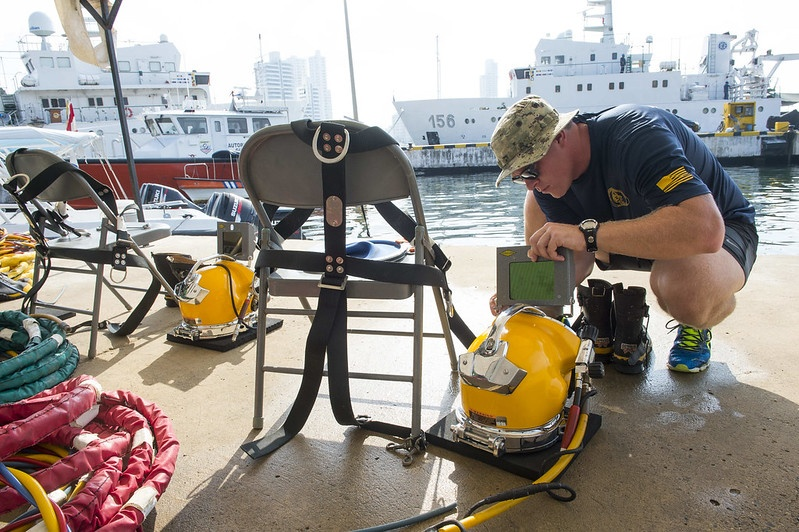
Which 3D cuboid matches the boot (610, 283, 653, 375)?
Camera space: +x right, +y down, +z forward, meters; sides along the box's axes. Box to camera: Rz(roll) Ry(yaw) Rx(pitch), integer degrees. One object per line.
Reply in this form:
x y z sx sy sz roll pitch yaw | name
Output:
1.268 0.299 3.020 0.190 0.441 0.461 3 14 28 | boot

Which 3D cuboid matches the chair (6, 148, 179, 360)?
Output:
-1.996 -0.143 3.536 0.831 1.211 1.037 -15 23 -29 | chair

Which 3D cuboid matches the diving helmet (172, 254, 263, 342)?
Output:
-1.059 0.159 3.486 0.511 0.536 0.591 6 5 38 | diving helmet

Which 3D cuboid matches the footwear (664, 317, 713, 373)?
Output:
1.517 0.431 2.897 0.142 0.151 0.342 0 2 28 | footwear

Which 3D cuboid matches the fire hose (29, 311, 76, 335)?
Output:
-2.009 0.367 3.239 0.192 0.059 0.187 22 -4 11 | fire hose

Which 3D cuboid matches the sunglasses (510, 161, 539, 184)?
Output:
0.613 -0.443 2.674 0.083 0.025 0.080 -49 16 -22 | sunglasses

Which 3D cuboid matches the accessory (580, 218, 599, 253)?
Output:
0.855 -0.126 2.521 0.087 0.184 0.207 4 21 19 | accessory

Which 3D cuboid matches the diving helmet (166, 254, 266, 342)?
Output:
-1.074 0.165 3.511 0.507 0.538 0.594 7 7 37 | diving helmet

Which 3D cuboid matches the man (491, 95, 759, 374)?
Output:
1.199 -0.152 2.986 1.472 1.248 1.195 0 8 3 | man

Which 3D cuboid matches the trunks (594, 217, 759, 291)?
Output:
1.573 -0.085 3.028 0.536 0.204 0.435 -2 8 18 | trunks

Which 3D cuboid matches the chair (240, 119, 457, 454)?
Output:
-0.252 0.068 2.484 0.967 1.395 0.683 -2 20 4 | chair

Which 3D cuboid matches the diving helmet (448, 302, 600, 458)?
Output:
0.530 0.413 2.456 0.540 0.531 0.630 11 24 41 | diving helmet

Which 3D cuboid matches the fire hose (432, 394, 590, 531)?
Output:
0.520 0.761 2.255 0.868 0.264 0.049 -17 46 -23 | fire hose

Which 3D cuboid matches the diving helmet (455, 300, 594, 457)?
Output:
0.503 0.442 2.457 0.516 0.538 0.644 10 17 37 | diving helmet
